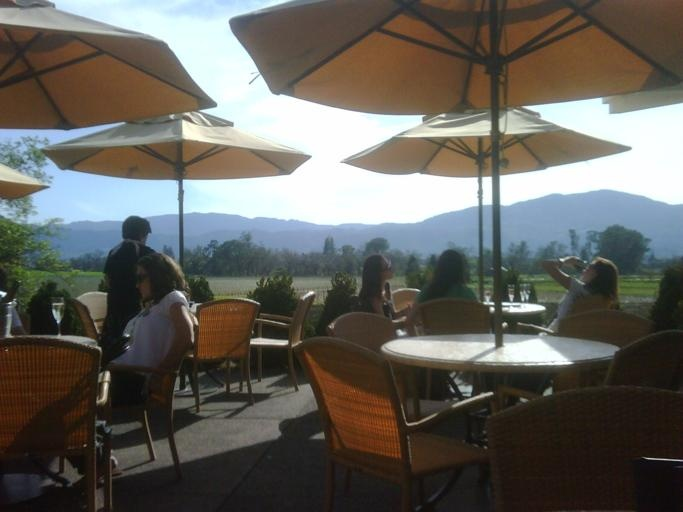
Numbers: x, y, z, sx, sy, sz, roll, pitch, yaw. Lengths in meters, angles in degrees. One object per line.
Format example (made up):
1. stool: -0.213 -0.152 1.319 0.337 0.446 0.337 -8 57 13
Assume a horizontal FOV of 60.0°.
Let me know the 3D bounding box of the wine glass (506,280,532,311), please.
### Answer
1. wine glass: 2.298 0.509 7.701 0.262 0.372 0.264 4 -7 -39

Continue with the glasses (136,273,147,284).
1. glasses: -1.574 0.171 4.649 0.083 0.097 0.032 2 4 24
